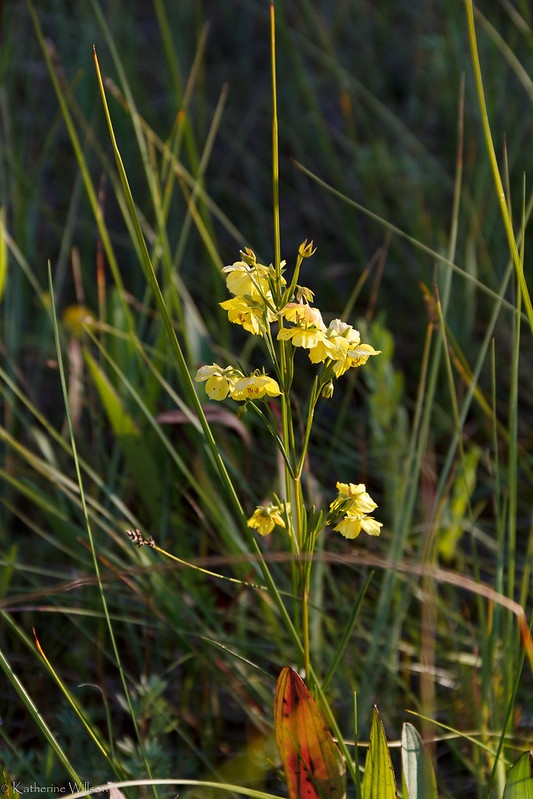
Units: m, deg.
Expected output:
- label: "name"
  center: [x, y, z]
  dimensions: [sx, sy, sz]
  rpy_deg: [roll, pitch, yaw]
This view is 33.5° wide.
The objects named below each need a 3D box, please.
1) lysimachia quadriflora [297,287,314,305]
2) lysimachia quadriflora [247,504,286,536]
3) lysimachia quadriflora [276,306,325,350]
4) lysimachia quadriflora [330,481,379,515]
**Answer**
- label: "lysimachia quadriflora"
  center: [0.038, -0.105, 0.909]
  dimensions: [0.013, 0.010, 0.041]
  rpy_deg: [-22, 14, -8]
- label: "lysimachia quadriflora"
  center: [-0.002, 0.129, 0.922]
  dimensions: [0.030, 0.020, 0.039]
  rpy_deg: [2, 51, 15]
- label: "lysimachia quadriflora"
  center: [0.036, -0.079, 0.878]
  dimensions: [0.034, 0.046, 0.031]
  rpy_deg: [-9, 25, 1]
- label: "lysimachia quadriflora"
  center: [0.094, 0.104, 0.920]
  dimensions: [0.031, 0.015, 0.041]
  rpy_deg: [-6, 67, -19]
